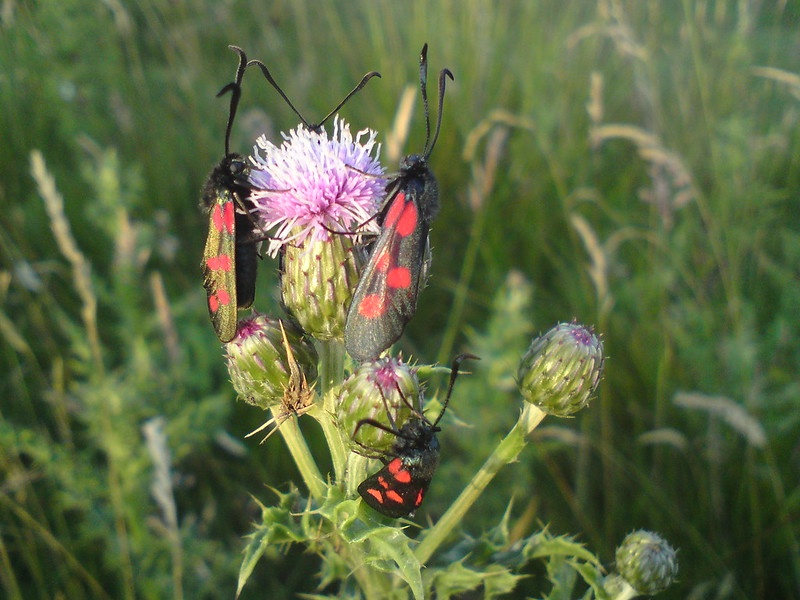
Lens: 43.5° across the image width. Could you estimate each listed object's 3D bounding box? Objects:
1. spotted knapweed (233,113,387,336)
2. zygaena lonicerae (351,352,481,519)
[{"bbox_3d":[-0.314,-0.239,3.939,0.566,0.775,0.589,8,-4,-6],"label":"spotted knapweed"},{"bbox_3d":[0.035,0.543,3.621,0.126,0.583,0.488,15,-29,-31],"label":"zygaena lonicerae"}]
